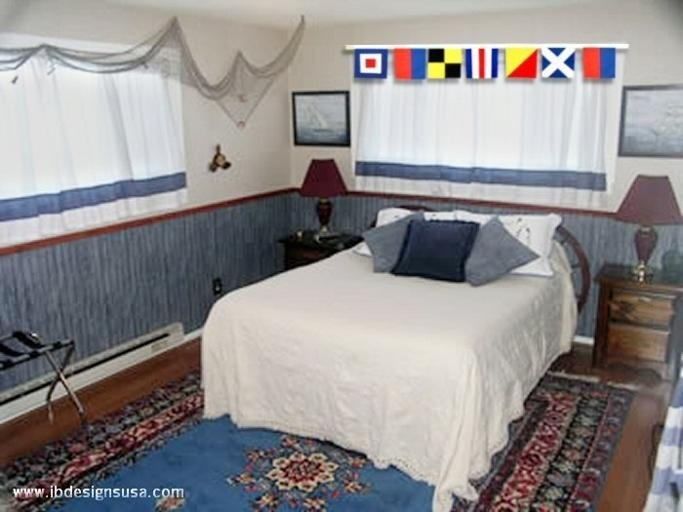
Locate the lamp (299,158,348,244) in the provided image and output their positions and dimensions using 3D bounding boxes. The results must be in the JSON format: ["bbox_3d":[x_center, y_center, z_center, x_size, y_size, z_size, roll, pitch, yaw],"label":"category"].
[{"bbox_3d":[-0.165,-0.553,5.208,0.396,0.751,0.433,-1,6,37],"label":"lamp"}]
